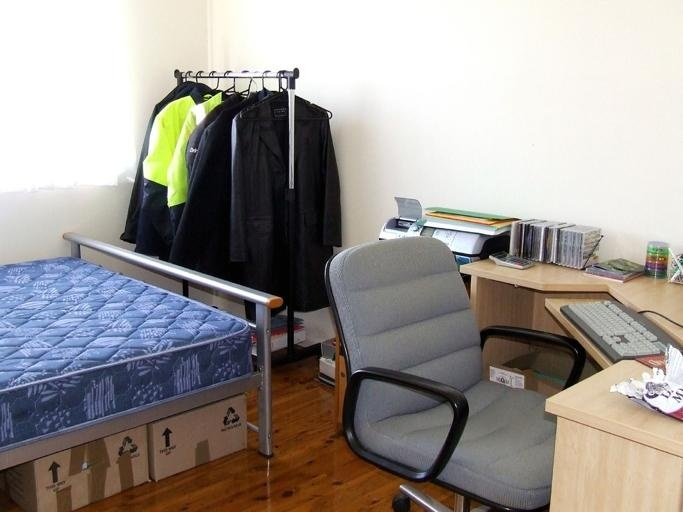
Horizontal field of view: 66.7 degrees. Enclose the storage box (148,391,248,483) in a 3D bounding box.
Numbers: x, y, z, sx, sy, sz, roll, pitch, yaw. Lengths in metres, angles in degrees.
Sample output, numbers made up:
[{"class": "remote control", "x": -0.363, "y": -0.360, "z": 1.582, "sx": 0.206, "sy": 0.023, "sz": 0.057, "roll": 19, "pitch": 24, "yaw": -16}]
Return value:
[{"class": "storage box", "x": -0.635, "y": 0.708, "z": 2.332, "sx": 0.515, "sy": 0.331, "sz": 0.272, "roll": -11, "pitch": 13, "yaw": -41}]
